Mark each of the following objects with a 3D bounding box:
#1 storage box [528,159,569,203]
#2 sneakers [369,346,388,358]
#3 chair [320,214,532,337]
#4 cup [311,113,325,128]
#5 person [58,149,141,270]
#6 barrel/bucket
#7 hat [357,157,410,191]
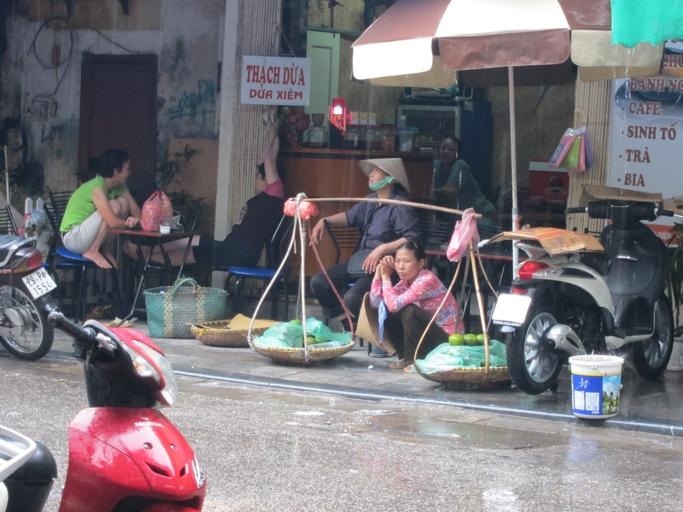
[{"bbox_3d":[2.667,-0.975,12.344,0.474,0.515,0.503,0,-3,4],"label":"storage box"},{"bbox_3d":[0.393,1.021,10.111,0.125,0.157,0.133,0,-5,-4],"label":"sneakers"},{"bbox_3d":[0.552,0.113,10.595,1.799,1.092,1.173,-12,13,-42],"label":"chair"},{"bbox_3d":[-0.287,-1.651,11.649,0.146,0.132,0.154,4,3,0],"label":"cup"},{"bbox_3d":[-2.834,-0.544,11.325,0.909,1.287,0.896,-7,12,-39],"label":"person"},{"bbox_3d":[2.000,1.024,7.649,0.458,0.503,0.466,1,0,0],"label":"barrel/bucket"},{"bbox_3d":[0.469,-0.911,10.017,0.392,0.197,0.419,17,-8,7],"label":"hat"}]
